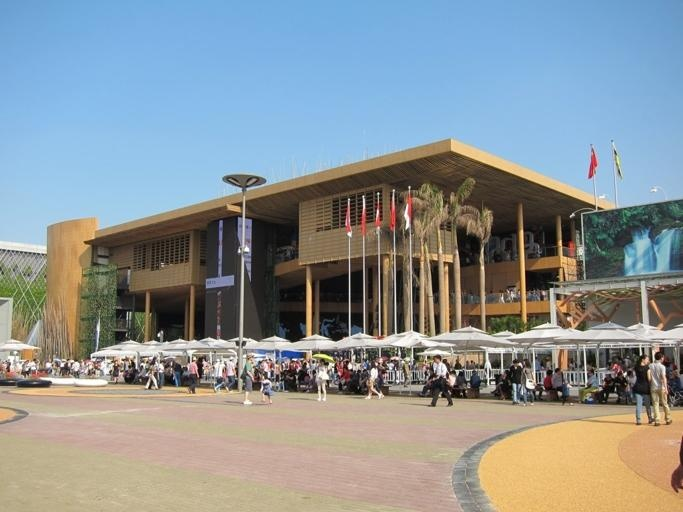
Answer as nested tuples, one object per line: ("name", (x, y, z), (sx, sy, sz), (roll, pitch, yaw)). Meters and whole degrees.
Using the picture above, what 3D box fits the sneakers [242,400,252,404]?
("sneakers", (-3.355, 5.311, 23.177), (0.330, 0.154, 0.193), (1, -7, -18))

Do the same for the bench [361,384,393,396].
("bench", (1.558, 6.050, 28.957), (1.238, 0.699, 0.899), (-1, 3, -7))

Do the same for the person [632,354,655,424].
("person", (7.953, 3.530, 16.907), (0.524, 1.769, 0.530), (-6, -9, 31))

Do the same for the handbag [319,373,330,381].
("handbag", (-0.710, 4.890, 25.996), (0.328, 0.302, 0.561), (-9, -15, 36))

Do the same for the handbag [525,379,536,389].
("handbag", (6.884, 4.678, 23.356), (0.281, 0.175, 0.404), (5, -4, -21))
